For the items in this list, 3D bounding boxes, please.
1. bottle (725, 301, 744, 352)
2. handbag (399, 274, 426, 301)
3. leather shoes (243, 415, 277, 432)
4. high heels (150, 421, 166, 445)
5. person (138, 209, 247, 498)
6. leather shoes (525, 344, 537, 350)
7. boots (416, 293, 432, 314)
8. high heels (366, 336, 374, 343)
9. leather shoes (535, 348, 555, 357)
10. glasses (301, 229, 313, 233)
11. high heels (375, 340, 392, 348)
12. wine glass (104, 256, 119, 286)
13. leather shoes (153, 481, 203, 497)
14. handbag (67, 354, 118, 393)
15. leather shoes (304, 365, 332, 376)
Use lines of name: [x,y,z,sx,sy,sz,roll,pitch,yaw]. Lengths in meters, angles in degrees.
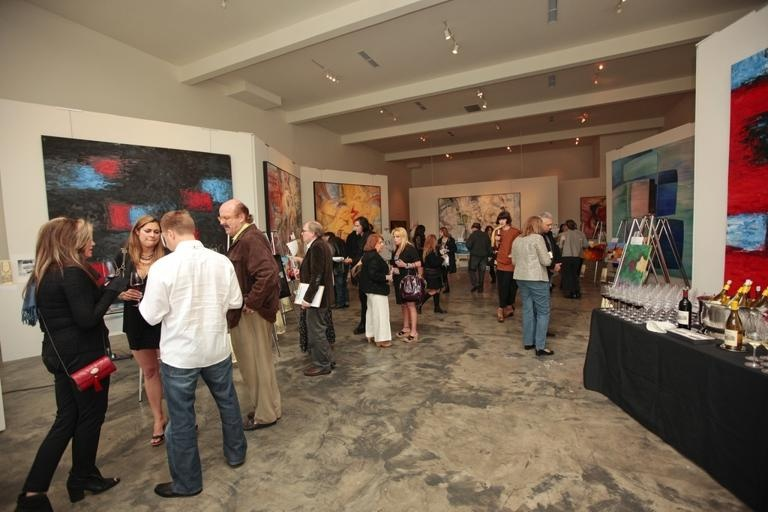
bottle: [3.481,0.675,4.579,0.154,0.466,0.354,3,5,39]
handbag: [0.491,0.467,7.516,0.468,0.647,0.355,2,0,7]
leather shoes: [-1.425,1.941,5.341,0.344,0.103,0.148,7,-8,-23]
high heels: [-2.535,2.020,5.212,0.115,0.084,0.323,0,0,-14]
person: [-1.873,0.967,4.564,0.849,2.811,0.443,0,4,-2]
leather shoes: [2.213,1.374,6.980,0.158,0.075,0.111,0,4,2]
boots: [0.700,0.778,8.151,0.278,0.216,0.840,-8,-16,-3]
high heels: [-0.215,1.355,7.529,0.075,0.128,0.124,1,1,-19]
leather shoes: [2.335,1.406,6.759,0.299,0.125,0.104,-4,6,-7]
glasses: [-1.058,-0.349,6.364,0.205,0.072,0.058,3,5,37]
high heels: [-0.006,1.386,7.303,0.191,0.082,0.108,-7,-2,13]
wine glass: [-3.697,0.188,6.250,0.165,0.305,0.089,7,25,-12]
leather shoes: [-2.023,2.327,4.542,0.443,0.136,0.175,0,0,6]
handbag: [-2.788,1.135,4.417,0.357,0.314,0.160,-3,5,-32]
leather shoes: [-0.918,1.606,6.435,0.271,0.114,0.159,5,-6,-14]
